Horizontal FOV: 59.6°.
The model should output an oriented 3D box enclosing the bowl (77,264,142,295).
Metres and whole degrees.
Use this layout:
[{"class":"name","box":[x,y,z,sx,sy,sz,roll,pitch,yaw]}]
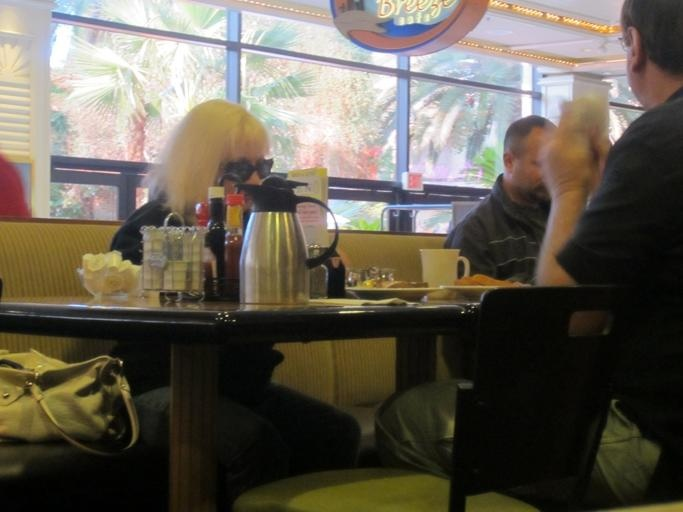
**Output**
[{"class":"bowl","box":[-0.571,0.065,1.497,0.179,0.086,0.100,12,13,38]}]
